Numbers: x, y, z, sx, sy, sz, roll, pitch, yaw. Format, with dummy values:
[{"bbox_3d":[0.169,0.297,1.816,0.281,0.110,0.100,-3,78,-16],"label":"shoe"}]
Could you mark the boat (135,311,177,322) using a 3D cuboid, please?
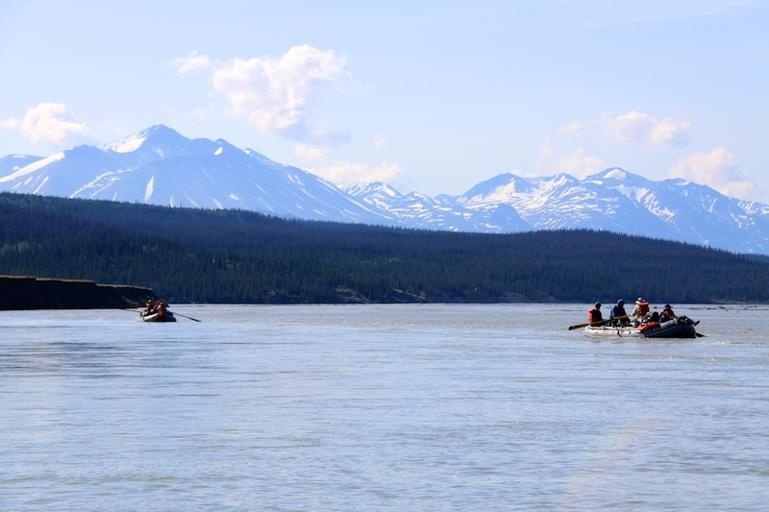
[{"bbox_3d":[-27.895,7.428,192.353,2.667,1.390,5.567,4,-6,-39],"label":"boat"}]
